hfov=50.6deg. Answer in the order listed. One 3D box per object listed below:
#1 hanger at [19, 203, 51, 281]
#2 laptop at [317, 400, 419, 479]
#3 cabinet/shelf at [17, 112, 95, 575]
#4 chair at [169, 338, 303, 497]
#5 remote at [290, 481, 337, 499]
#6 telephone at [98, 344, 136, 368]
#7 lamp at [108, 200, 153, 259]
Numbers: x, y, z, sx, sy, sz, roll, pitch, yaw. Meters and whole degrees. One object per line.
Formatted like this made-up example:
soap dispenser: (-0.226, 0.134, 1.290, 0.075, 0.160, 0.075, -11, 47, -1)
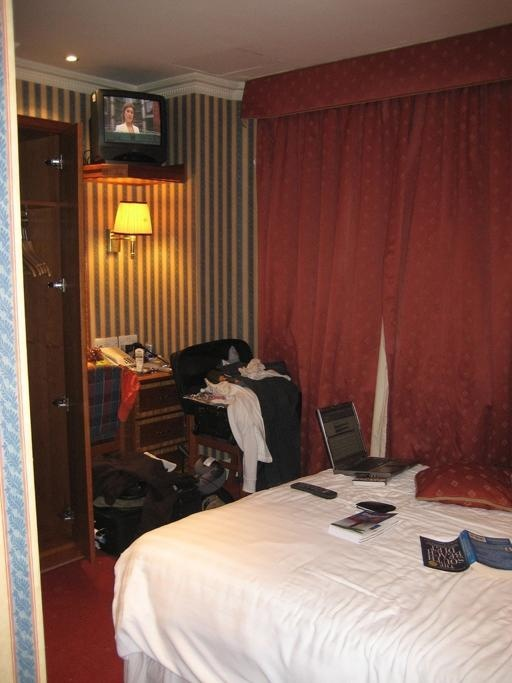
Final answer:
hanger: (-1.249, -0.553, 3.062, 0.162, 0.394, 0.116, -3, 4, -42)
laptop: (0.568, 0.561, 2.947, 0.382, 0.295, 0.452, 0, 2, 26)
cabinet/shelf: (-1.113, 0.048, 3.048, 0.317, 2.483, 0.520, -2, 3, -24)
chair: (-0.090, 0.501, 4.189, 0.981, 1.212, 0.973, 1, 7, 42)
remote: (0.276, 0.691, 2.521, 0.068, 0.021, 0.162, -4, 7, -38)
telephone: (-1.073, 0.122, 4.195, 0.195, 0.048, 0.201, 22, 11, 22)
lamp: (-1.071, -0.937, 4.570, 0.316, 0.428, 0.439, -2, 3, -23)
